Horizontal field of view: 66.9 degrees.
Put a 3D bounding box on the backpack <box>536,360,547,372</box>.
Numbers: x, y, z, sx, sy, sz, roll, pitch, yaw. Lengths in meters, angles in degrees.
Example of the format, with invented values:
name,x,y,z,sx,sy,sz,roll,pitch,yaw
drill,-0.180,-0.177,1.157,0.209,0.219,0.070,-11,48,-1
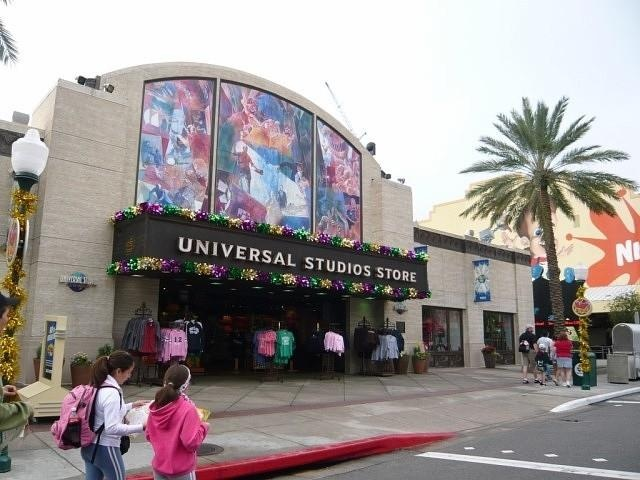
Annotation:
name,x,y,z,sx,sy,sz,roll,pitch,yaw
backpack,9.024,5.113,19.714,0.321,0.475,0.493,-7,-15,22

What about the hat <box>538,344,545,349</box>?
name,x,y,z,sx,sy,sz,roll,pitch,yaw
hat,9.273,4.467,20.281,0.156,0.215,0.208,-21,-52,39

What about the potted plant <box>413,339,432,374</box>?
name,x,y,z,sx,sy,sz,roll,pitch,yaw
potted plant,5.074,5.831,24.239,0.621,1.562,1.092,-12,-17,36

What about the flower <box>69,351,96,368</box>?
name,x,y,z,sx,sy,sz,roll,pitch,yaw
flower,-7.212,3.656,14.923,0.483,0.379,0.504,1,-6,9

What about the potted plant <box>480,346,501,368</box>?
name,x,y,z,sx,sy,sz,roll,pitch,yaw
potted plant,9.828,6.747,28.240,0.969,1.409,1.185,-10,-14,42

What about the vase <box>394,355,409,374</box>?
name,x,y,z,sx,sy,sz,roll,pitch,yaw
vase,4.064,6.012,23.448,0.739,0.866,0.757,-11,-20,31

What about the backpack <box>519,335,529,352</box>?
name,x,y,z,sx,sy,sz,roll,pitch,yaw
backpack,8.648,4.381,20.450,0.384,0.648,0.368,-6,-14,17

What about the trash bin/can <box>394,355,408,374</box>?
name,x,y,z,sx,sy,sz,roll,pitch,yaw
trash bin/can,4.067,6.001,23.404,0.735,0.857,0.751,-12,-20,32
